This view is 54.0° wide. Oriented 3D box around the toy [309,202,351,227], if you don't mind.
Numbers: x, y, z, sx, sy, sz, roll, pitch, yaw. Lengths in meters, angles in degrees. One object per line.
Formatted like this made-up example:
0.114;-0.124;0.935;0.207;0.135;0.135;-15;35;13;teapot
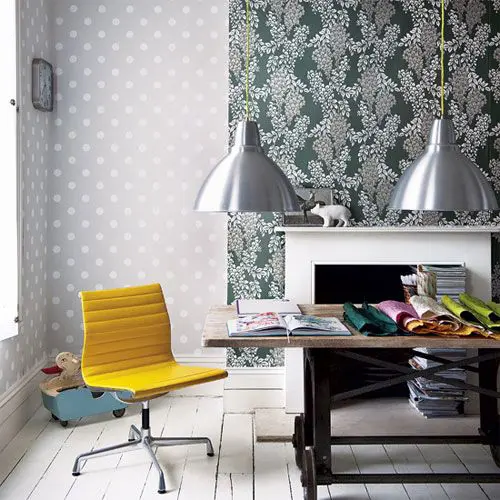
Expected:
0.527;-0.225;3.169;0.277;0.159;0.147;0;6;0;toy

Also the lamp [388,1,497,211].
0.884;-0.424;2.198;0.439;0.489;0.274;0;6;3;lamp

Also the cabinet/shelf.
0.783;0.347;2.740;1.271;1.058;0.285;0;-2;-2;cabinet/shelf

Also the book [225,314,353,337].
0.166;0.321;2.155;0.534;0.051;0.313;0;6;-1;book

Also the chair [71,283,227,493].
-0.564;0.716;2.787;0.964;1.109;0.896;-1;2;-45;chair
